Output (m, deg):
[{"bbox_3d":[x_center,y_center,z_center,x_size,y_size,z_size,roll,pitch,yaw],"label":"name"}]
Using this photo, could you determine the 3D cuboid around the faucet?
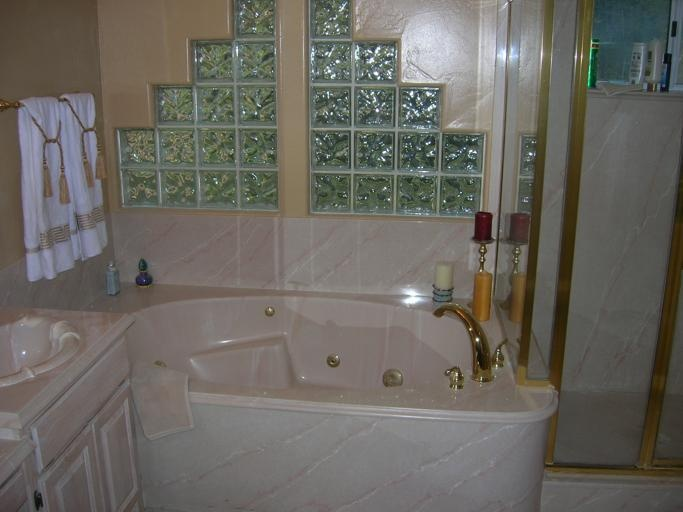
[{"bbox_3d":[0.507,0.328,2.253,0.143,0.313,0.316,10,17,44],"label":"faucet"}]

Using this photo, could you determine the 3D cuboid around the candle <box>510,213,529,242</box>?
[{"bbox_3d":[0.690,-0.111,2.263,0.090,0.116,0.095,-1,7,-10],"label":"candle"}]

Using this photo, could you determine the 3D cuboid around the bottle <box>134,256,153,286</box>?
[{"bbox_3d":[-1.073,0.082,3.129,0.102,0.159,0.090,-1,12,4],"label":"bottle"}]

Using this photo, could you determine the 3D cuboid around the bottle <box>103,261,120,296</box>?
[{"bbox_3d":[-1.204,0.125,3.045,0.068,0.155,0.072,-2,12,0],"label":"bottle"}]

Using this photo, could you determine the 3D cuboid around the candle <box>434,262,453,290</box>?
[{"bbox_3d":[0.512,0.102,2.970,0.108,0.137,0.114,0,10,3],"label":"candle"}]

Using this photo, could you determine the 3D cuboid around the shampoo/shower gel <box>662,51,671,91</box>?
[{"bbox_3d":[1.250,-0.706,2.239,0.030,0.147,0.070,5,13,28],"label":"shampoo/shower gel"}]

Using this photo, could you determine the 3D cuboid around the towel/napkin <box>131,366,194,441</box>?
[{"bbox_3d":[-0.679,0.548,2.231,0.240,0.262,0.088,-21,-12,5],"label":"towel/napkin"}]

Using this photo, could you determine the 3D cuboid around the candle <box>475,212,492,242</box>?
[{"bbox_3d":[0.676,-0.142,2.788,0.083,0.141,0.128,1,12,13],"label":"candle"}]

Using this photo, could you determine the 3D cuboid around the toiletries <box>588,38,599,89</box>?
[{"bbox_3d":[0.972,-0.741,2.243,0.031,0.194,0.119,3,13,23],"label":"toiletries"}]

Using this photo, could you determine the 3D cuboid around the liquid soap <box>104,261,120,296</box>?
[{"bbox_3d":[-1.204,0.125,3.045,0.068,0.155,0.072,-5,12,-16],"label":"liquid soap"}]

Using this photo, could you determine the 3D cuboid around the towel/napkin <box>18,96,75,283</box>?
[{"bbox_3d":[-1.181,-0.269,2.317,0.100,0.702,0.261,3,13,23],"label":"towel/napkin"}]
